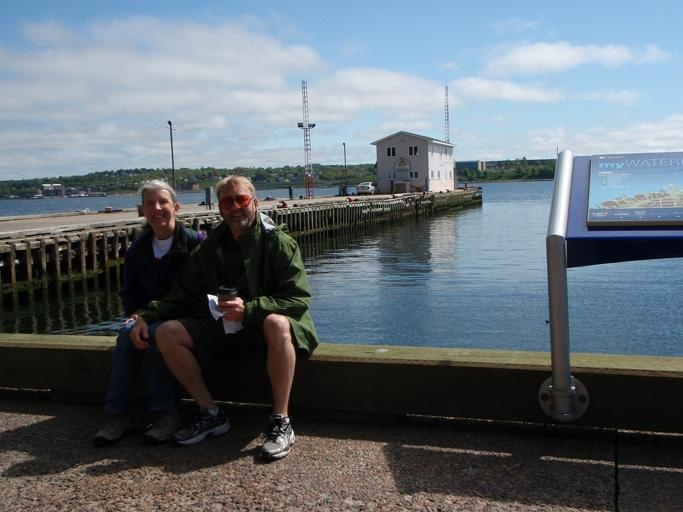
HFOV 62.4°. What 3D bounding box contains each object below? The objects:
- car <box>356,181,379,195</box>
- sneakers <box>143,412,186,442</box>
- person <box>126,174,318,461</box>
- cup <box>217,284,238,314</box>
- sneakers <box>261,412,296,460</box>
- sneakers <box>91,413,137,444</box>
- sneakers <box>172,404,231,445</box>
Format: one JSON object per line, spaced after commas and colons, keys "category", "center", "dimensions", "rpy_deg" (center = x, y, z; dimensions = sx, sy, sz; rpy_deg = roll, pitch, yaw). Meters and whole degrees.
{"category": "car", "center": [2.593, -7.455, 62.130], "dimensions": [1.387, 0.870, 2.782], "rpy_deg": [2, 10, 16]}
{"category": "sneakers", "center": [-1.109, 1.059, 3.508], "dimensions": [0.200, 0.155, 0.185], "rpy_deg": [-3, 11, -4]}
{"category": "person", "center": [-0.719, 0.300, 3.597], "dimensions": [1.112, 1.599, 0.832], "rpy_deg": [3, 13, 25]}
{"category": "cup", "center": [-0.698, 0.251, 3.451], "dimensions": [0.123, 0.090, 0.113], "rpy_deg": [2, 10, 0]}
{"category": "sneakers", "center": [-0.373, 1.049, 3.262], "dimensions": [0.124, 0.138, 0.297], "rpy_deg": [0, 0, 8]}
{"category": "sneakers", "center": [-1.420, 1.079, 3.526], "dimensions": [0.109, 0.140, 0.242], "rpy_deg": [2, 11, 21]}
{"category": "sneakers", "center": [-0.849, 1.050, 3.556], "dimensions": [0.390, 0.166, 0.130], "rpy_deg": [-17, 28, -28]}
